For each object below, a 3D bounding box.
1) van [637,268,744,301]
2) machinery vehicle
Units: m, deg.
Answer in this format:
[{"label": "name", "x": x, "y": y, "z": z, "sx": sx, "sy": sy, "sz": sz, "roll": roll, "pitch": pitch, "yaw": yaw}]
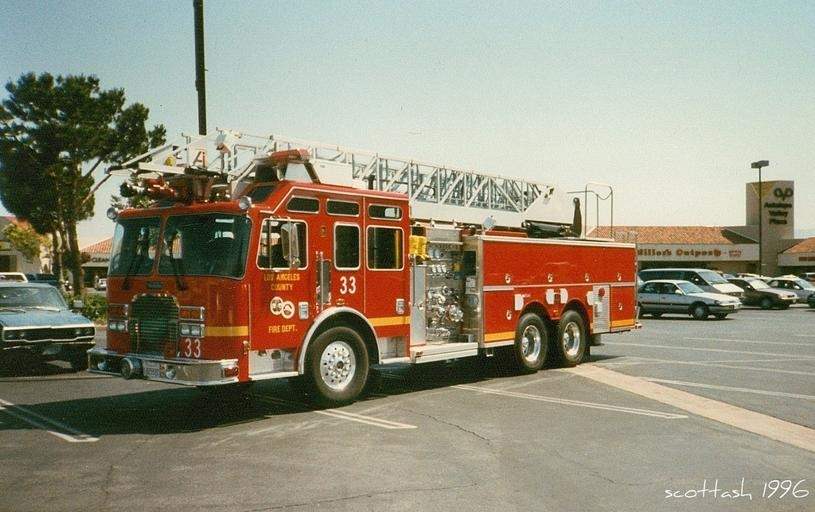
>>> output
[{"label": "van", "x": 13.181, "y": 1.096, "z": 35.006, "sx": 4.156, "sy": 1.227, "sz": 1.935, "roll": 0, "pitch": 0, "yaw": 27}, {"label": "machinery vehicle", "x": 0.159, "y": 0.393, "z": 18.912, "sx": 4.521, "sy": 5.072, "sz": 14.617, "roll": 2, "pitch": 1, "yaw": 44}]
